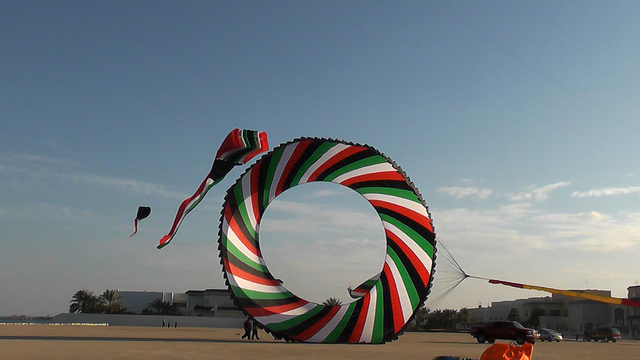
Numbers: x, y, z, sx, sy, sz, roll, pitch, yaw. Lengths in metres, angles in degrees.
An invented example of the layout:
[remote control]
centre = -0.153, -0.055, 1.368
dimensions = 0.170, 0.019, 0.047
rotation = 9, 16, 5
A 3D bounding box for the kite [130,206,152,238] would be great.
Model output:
[kite]
centre = -14.716, 3.263, 41.509
dimensions = 0.891, 2.553, 3.746
rotation = 10, -18, -19

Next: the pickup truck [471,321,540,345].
[pickup truck]
centre = 20.973, 16.704, 55.142
dimensions = 3.832, 2.432, 7.460
rotation = 8, -17, -33
